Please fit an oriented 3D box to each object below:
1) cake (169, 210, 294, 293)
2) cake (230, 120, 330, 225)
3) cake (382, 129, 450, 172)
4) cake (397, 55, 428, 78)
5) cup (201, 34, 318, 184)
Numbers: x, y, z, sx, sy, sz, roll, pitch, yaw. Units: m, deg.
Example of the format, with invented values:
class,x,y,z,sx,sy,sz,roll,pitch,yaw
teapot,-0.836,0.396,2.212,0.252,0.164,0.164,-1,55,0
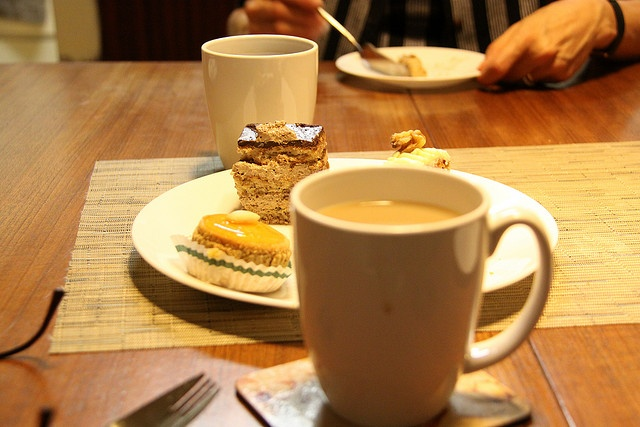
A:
class,x,y,z,sx,sy,sz,roll,pitch,yaw
cake,-0.114,0.048,0.599,0.160,0.071,0.088,6,38,6
cake,-0.048,-0.099,0.886,0.180,0.186,0.188,2,23,6
cake,0.179,-0.113,0.822,0.086,0.045,0.120,5,12,10
cake,0.297,-0.460,1.418,0.056,0.026,0.100,-15,71,2
cup,-0.117,-0.255,1.037,0.271,0.295,0.270,-1,23,0
